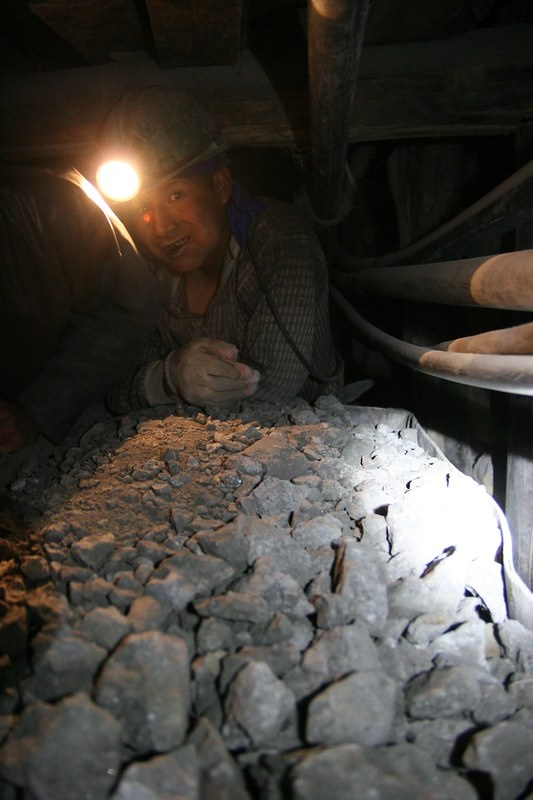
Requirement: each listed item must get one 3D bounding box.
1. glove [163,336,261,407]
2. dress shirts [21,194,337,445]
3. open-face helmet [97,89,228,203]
[{"bbox_3d":[-0.203,-0.079,1.924,0.355,0.254,0.168,-1,-14,30],"label":"glove"},{"bbox_3d":[-0.262,-0.338,2.133,0.992,1.090,0.731,4,-12,10],"label":"dress shirts"},{"bbox_3d":[-0.302,-0.768,1.721,0.246,0.350,0.169,7,-46,49],"label":"open-face helmet"}]
